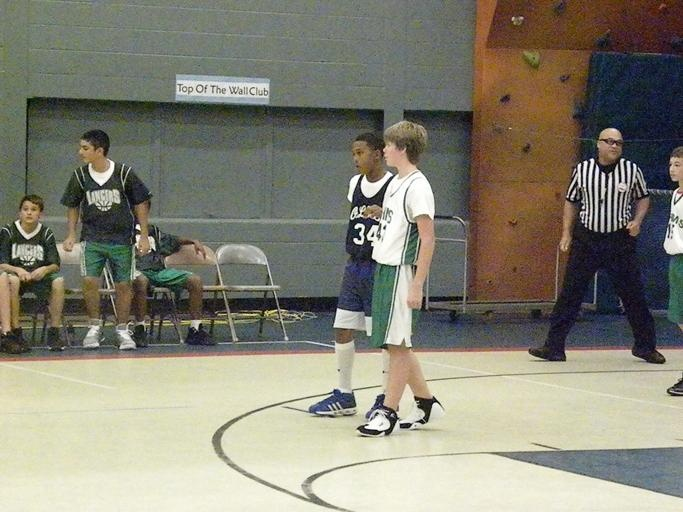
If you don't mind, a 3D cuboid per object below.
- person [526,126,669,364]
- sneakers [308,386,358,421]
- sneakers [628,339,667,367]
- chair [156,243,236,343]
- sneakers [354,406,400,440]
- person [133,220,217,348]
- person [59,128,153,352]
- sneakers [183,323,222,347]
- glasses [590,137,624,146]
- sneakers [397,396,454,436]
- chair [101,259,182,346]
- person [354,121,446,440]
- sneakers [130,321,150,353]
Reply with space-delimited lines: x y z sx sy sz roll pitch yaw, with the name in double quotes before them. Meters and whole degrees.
"person" 2.581 -0.113 9.314 1.165 2.264 0.685 0 7 11
"sneakers" -0.055 1.114 7.098 0.440 0.209 0.148 1 -1 -18
"sneakers" 2.988 0.963 9.230 0.361 0.158 0.135 11 10 44
"chair" -1.620 0.270 10.736 0.898 1.441 1.092 -1 0 -24
"sneakers" 0.269 1.159 6.570 0.349 0.152 0.134 0 -4 -41
"person" -1.905 0.252 10.072 0.963 1.314 1.286 1 -1 -40
"person" -2.355 -0.166 9.507 0.873 2.203 0.525 -3 8 -12
"sneakers" -1.454 0.853 10.078 0.437 0.264 0.165 1 2 -4
"glasses" 2.639 -1.133 9.298 0.221 0.074 0.243 0 8 13
"sneakers" 0.543 1.129 6.846 0.465 0.258 0.151 -16 10 -6
"chair" -2.031 0.520 10.292 0.798 1.241 0.918 1 -4 -20
"person" 0.402 0.155 6.656 0.578 2.190 0.567 -1 7 6
"sneakers" -2.090 0.839 9.777 0.203 0.233 0.543 0 -8 -4
